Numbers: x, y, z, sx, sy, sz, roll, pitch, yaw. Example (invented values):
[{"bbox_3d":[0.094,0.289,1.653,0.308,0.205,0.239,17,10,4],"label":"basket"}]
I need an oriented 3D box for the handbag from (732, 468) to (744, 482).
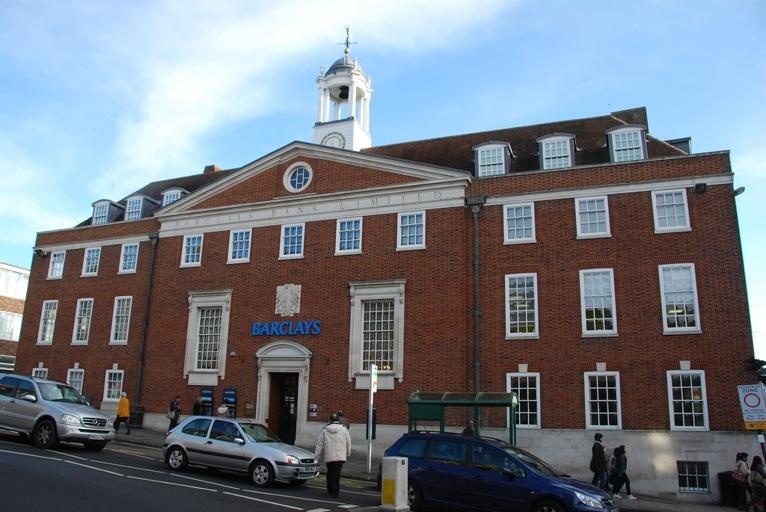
[{"bbox_3d":[13.751,8.485,23.317,0.189,0.403,0.467,7,-20,-16],"label":"handbag"}]

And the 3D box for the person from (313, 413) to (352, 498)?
[{"bbox_3d":[-1.691,6.698,20.380,1.112,2.700,1.034,2,-20,-2],"label":"person"}]
